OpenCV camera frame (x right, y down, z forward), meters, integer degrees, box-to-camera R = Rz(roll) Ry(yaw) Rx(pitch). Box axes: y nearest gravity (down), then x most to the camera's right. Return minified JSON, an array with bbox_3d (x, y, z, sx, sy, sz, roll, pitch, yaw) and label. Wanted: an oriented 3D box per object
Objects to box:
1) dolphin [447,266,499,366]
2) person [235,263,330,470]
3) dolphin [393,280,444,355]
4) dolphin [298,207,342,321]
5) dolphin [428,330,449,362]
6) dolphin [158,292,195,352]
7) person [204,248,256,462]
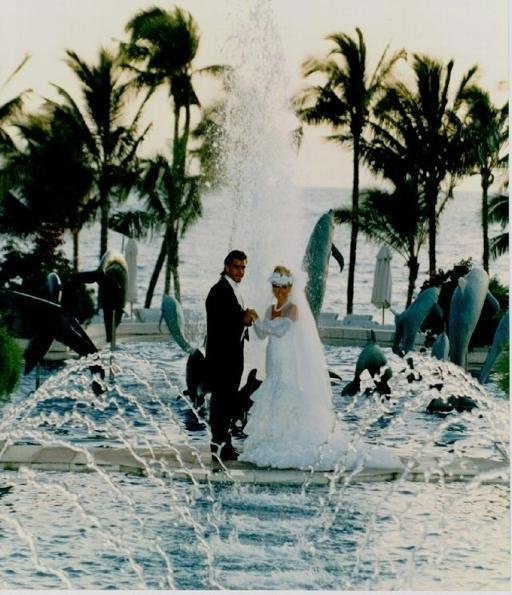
[{"bbox_3d":[2.502,0.183,12.137,0.402,1.484,0.565,8,-5,43],"label":"dolphin"},{"bbox_3d":[0.309,0.745,10.096,0.717,2.120,0.844,-1,5,-4],"label":"person"},{"bbox_3d":[1.995,0.309,12.887,0.551,0.960,0.640,2,10,8],"label":"dolphin"},{"bbox_3d":[0.727,-0.441,12.336,0.399,1.532,0.358,15,-6,-42],"label":"dolphin"},{"bbox_3d":[2.229,0.598,12.525,0.148,0.526,0.236,10,0,15],"label":"dolphin"},{"bbox_3d":[-0.985,0.227,12.741,0.250,1.049,0.293,5,-38,-26],"label":"dolphin"},{"bbox_3d":[-0.197,0.525,10.155,0.519,2.193,0.572,8,21,18],"label":"person"}]
